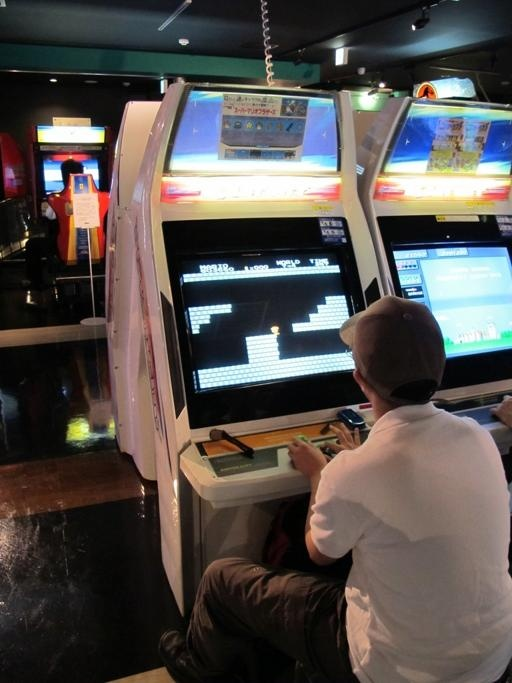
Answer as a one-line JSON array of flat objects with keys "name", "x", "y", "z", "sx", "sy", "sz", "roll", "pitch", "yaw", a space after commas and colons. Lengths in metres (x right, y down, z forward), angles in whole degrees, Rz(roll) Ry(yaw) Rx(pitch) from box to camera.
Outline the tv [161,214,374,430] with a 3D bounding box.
[{"name": "tv", "x": 0.010, "y": -0.042, "z": 1.676, "sx": 0.687, "sy": 0.681, "sz": 0.238, "roll": -5, "pitch": -7, "yaw": -24}]

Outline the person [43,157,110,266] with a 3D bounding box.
[{"name": "person", "x": -2.226, "y": -1.604, "z": 6.535, "sx": 0.742, "sy": 1.353, "sz": 1.779, "roll": -3, "pitch": 13, "yaw": -21}]

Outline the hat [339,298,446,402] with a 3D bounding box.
[{"name": "hat", "x": 0.257, "y": 0.008, "z": 1.009, "sx": 0.143, "sy": 0.117, "sz": 0.206, "roll": -4, "pitch": 47, "yaw": -5}]
